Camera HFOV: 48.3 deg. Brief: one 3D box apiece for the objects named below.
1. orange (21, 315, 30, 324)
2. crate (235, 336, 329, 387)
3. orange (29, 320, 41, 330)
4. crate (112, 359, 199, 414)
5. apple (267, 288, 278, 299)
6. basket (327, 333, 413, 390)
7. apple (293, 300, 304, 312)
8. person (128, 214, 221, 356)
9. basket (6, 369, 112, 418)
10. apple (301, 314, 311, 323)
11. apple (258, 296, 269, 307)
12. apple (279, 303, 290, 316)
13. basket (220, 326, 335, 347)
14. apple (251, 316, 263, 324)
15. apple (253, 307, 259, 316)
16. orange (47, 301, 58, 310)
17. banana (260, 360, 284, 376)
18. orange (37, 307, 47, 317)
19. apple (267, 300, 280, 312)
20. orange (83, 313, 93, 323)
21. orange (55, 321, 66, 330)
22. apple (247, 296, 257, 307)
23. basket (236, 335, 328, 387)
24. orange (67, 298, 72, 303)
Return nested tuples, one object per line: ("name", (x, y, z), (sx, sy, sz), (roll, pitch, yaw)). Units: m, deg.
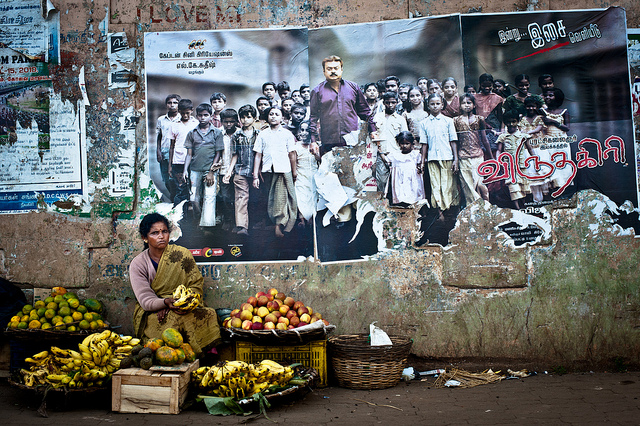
("orange", (-3.623, 1.306, 8.775), (0.067, 0.046, 0.083), (18, 1, 2))
("crate", (-0.405, 1.819, 9.215), (1.346, 0.528, 0.645), (-2, -1, -1))
("orange", (-3.477, 1.368, 8.694), (0.096, 0.091, 0.094), (-2, 0, 0))
("crate", (-1.951, 2.033, 8.204), (0.771, 0.355, 0.562), (0, 0, 3))
("apple", (-0.606, 1.020, 9.157), (0.110, 0.092, 0.092), (24, 54, 26))
("basket", (0.615, 1.868, 8.961), (1.040, 0.597, 0.474), (-1, 2, -1))
("apple", (-0.279, 1.186, 9.050), (0.098, 0.100, 0.117), (21, -1, -10))
("person", (-1.811, 0.906, 8.847), (1.048, 1.747, 0.599), (-2, 2, -14))
("basket", (-3.001, 2.182, 8.803), (1.819, 0.408, 0.841), (-3, -9, 6))
("apple", (-0.180, 1.308, 8.848), (0.101, 0.092, 0.083), (38, 4, -41))
("apple", (-0.718, 1.126, 9.000), (0.113, 0.103, 0.114), (-2, -6, 34))
("apple", (-0.435, 1.220, 8.957), (0.110, 0.109, 0.114), (-23, 4, 9))
("basket", (-0.537, 1.522, 8.687), (1.360, 0.252, 0.259), (-1, 2, -1))
("apple", (-0.785, 1.321, 8.787), (0.082, 0.078, 0.085), (-10, -10, 33))
("apple", (-0.808, 1.237, 8.927), (0.072, 0.085, 0.071), (8, 19, 4))
("orange", (-3.324, 1.156, 8.879), (0.090, 0.082, 0.087), (1, 0, -17))
("banana", (-0.556, 1.815, 8.415), (0.192, 0.069, 0.150), (18, 3, 27))
("orange", (-3.426, 1.227, 8.813), (0.099, 0.116, 0.097), (4, 11, 6))
("apple", (-0.592, 1.167, 8.952), (0.125, 0.126, 0.119), (-30, 40, -1))
("orange", (-2.898, 1.312, 8.921), (0.093, 0.107, 0.090), (4, -31, -28))
("orange", (-3.173, 1.380, 8.728), (0.091, 0.088, 0.091), (12, -24, 12))
("apple", (-0.859, 1.122, 9.002), (0.118, 0.107, 0.119), (-2, 2, -12))
("basket", (-0.424, 1.744, 8.149), (1.429, 0.571, 0.673), (-2, -1, -1))
("orange", (-3.145, 1.102, 8.973), (0.054, 0.048, 0.046), (-2, 2, -21))
